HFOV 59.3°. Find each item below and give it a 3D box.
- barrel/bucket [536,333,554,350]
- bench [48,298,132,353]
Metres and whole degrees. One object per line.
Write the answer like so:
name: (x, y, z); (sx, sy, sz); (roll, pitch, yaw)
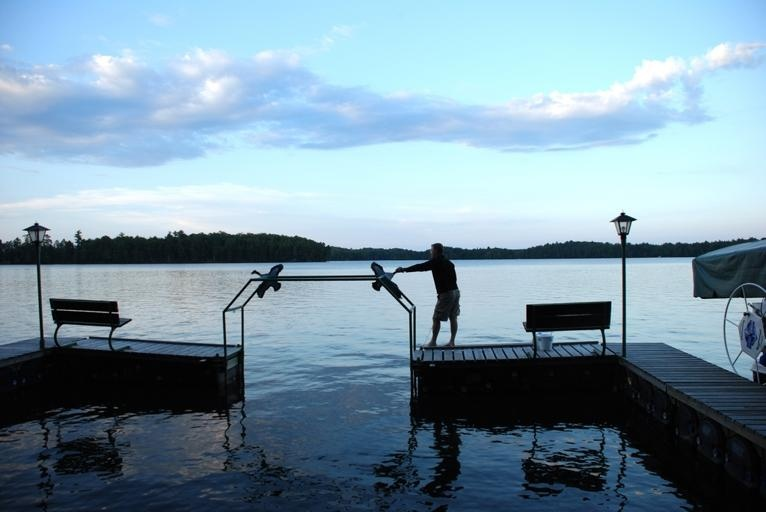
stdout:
barrel/bucket: (7.482, 4.026, 31.336); (0.732, 0.556, 0.766); (0, -8, 0)
bench: (-13.893, 3.232, 32.033); (3.917, 2.228, 1.709); (1, 0, 20)
